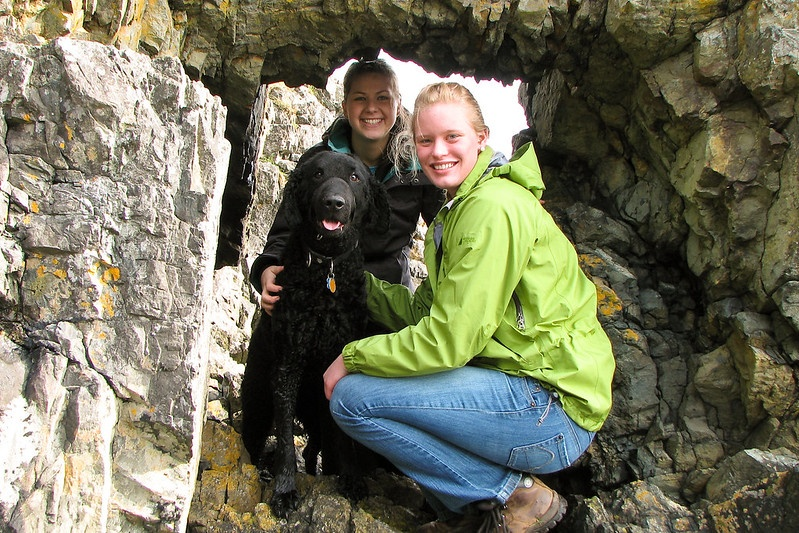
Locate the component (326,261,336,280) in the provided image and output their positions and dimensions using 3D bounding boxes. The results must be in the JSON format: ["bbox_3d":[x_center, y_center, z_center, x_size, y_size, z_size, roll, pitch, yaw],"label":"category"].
[{"bbox_3d":[-0.518,0.026,5.154,0.060,0.120,0.062,3,9,3],"label":"component"}]

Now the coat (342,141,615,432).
[{"bbox_3d":[0.726,0.213,5.287,2.084,1.931,1.565,16,-4,-2],"label":"coat"}]

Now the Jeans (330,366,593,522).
[{"bbox_3d":[0.295,1.186,5.044,2.172,0.791,1.167,-4,-6,-19],"label":"Jeans"}]
